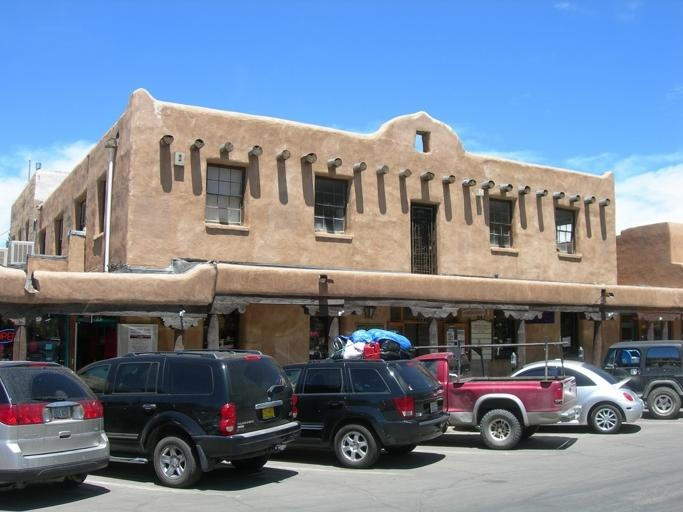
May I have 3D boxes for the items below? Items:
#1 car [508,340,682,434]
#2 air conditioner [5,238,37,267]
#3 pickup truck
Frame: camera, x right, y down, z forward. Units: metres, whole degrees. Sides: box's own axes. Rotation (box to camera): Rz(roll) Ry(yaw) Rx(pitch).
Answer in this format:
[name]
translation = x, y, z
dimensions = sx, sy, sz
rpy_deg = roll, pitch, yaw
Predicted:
[car]
translation = 6.232, 3.311, 18.140
dimensions = 3.143, 1.386, 1.826
rpy_deg = 0, -6, 10
[air conditioner]
translation = -12.643, -0.118, 28.970
dimensions = 0.640, 1.113, 1.179
rpy_deg = -8, -10, 41
[pickup truck]
translation = 3.536, 3.322, 16.985
dimensions = 3.471, 1.324, 1.929
rpy_deg = -1, -4, 21
